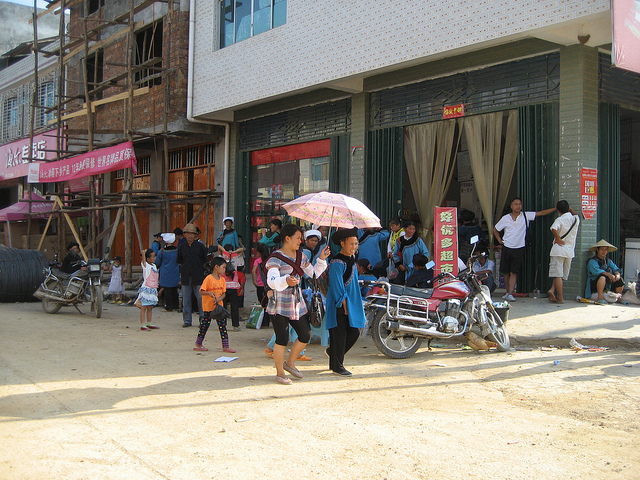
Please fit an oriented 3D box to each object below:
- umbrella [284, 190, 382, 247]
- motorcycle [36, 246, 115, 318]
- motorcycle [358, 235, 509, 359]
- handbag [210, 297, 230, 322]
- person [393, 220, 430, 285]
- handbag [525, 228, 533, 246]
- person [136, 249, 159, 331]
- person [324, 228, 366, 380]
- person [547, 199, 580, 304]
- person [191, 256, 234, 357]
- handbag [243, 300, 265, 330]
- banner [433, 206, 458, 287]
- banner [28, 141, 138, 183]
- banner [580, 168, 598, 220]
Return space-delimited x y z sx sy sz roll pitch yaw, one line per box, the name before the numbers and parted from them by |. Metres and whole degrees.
umbrella | 0.142 -0.231 11.702 1.411 1.039 1.380 1 16 -20
motorcycle | -5.175 0.938 14.915 1.451 1.205 0.552 0 0 14
motorcycle | 1.684 1.006 10.779 2.092 1.443 0.604 -2 10 -10
handbag | -1.549 1.089 11.161 0.317 0.439 0.213 -3 -2 1
person | 1.632 0.395 13.217 0.740 1.716 0.527 7 39 17
handbag | 3.984 -0.047 13.732 0.086 0.333 0.257 7 12 33
person | -3.177 0.967 13.262 0.383 1.480 1.311 -3 11 -15
person | 0.339 0.849 10.022 0.493 1.948 0.646 -2 -9 33
person | 4.452 0.225 13.278 0.458 1.830 0.711 7 12 32
person | -1.703 1.041 11.275 0.627 1.387 0.933 -2 10 -11
handbag | -1.248 1.440 13.552 0.147 0.569 0.477 16 5 -30
banner | 2.143 0.038 12.482 0.345 1.586 0.436 -2 7 -10
banner | -6.215 -1.863 18.917 3.592 0.835 0.304 -5 1 26
banner | 5.019 -0.844 13.429 0.655 0.981 0.015 -2 2 -41
